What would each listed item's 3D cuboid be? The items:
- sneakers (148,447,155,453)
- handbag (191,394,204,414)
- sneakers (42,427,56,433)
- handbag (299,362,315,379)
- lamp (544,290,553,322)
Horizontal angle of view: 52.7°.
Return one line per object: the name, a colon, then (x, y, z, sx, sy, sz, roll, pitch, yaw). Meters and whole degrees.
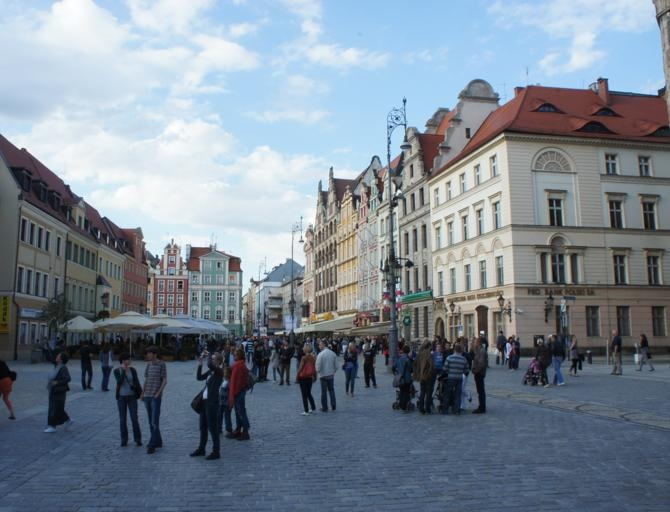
sneakers: (-3.899, 4.113, 14.355, 0.162, 0.127, 0.251, 3, -11, -15)
handbag: (-2.911, 3.137, 14.368, 0.225, 0.409, 0.521, 2, -10, -13)
sneakers: (-6.926, 4.201, 16.367, 0.221, 0.099, 0.124, 5, -7, -4)
handbag: (-0.849, 3.402, 19.774, 0.613, 0.578, 0.325, 5, -19, -19)
lamp: (13.010, 2.930, 41.097, 0.569, 1.877, 2.774, -3, -10, 17)
